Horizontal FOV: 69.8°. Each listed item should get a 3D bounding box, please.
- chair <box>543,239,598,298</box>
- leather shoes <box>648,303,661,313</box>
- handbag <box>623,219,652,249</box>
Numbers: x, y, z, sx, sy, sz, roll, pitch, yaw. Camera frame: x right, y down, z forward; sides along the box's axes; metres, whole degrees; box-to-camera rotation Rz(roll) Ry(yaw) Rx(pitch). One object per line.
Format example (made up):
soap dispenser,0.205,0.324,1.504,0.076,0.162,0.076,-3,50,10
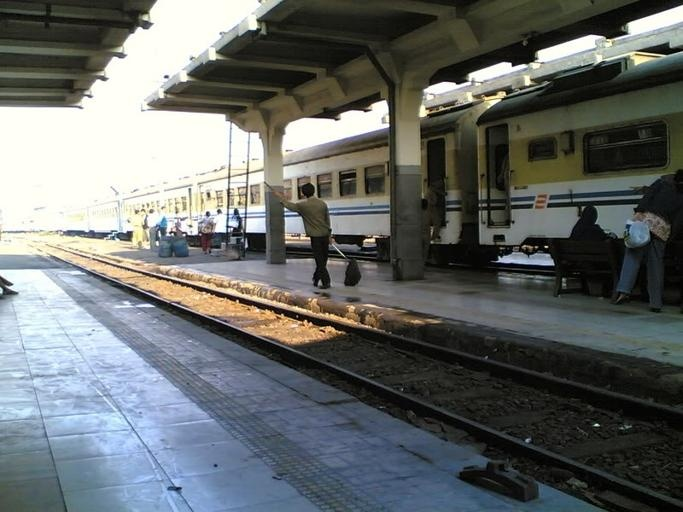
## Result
chair,4.647,0.255,9.583,0.906,1.133,1.129,1,5,32
leather shoes,5.167,0.864,8.001,0.171,0.138,0.204,1,4,29
handbag,4.811,-0.354,7.917,0.435,0.406,0.137,3,-4,35
